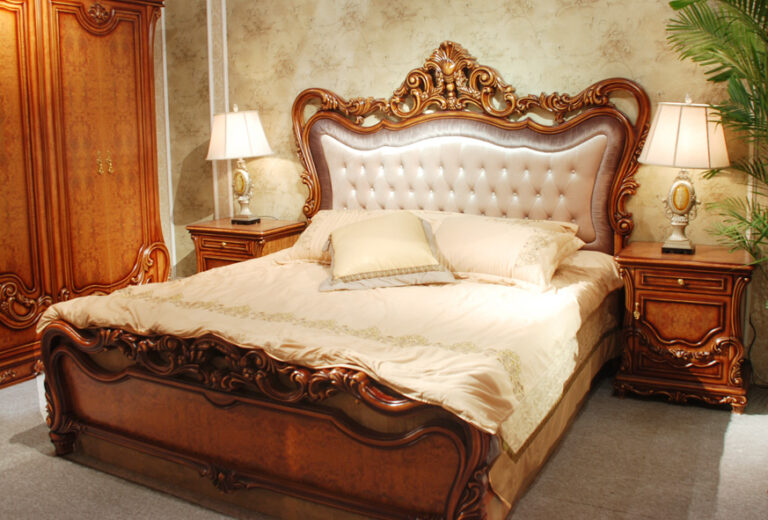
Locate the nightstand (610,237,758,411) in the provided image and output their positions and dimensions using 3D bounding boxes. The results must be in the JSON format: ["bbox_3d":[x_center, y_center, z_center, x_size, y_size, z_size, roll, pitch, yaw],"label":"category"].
[{"bbox_3d":[1.963,0.422,3.894,0.783,0.903,0.539,3,12,36],"label":"nightstand"}]
